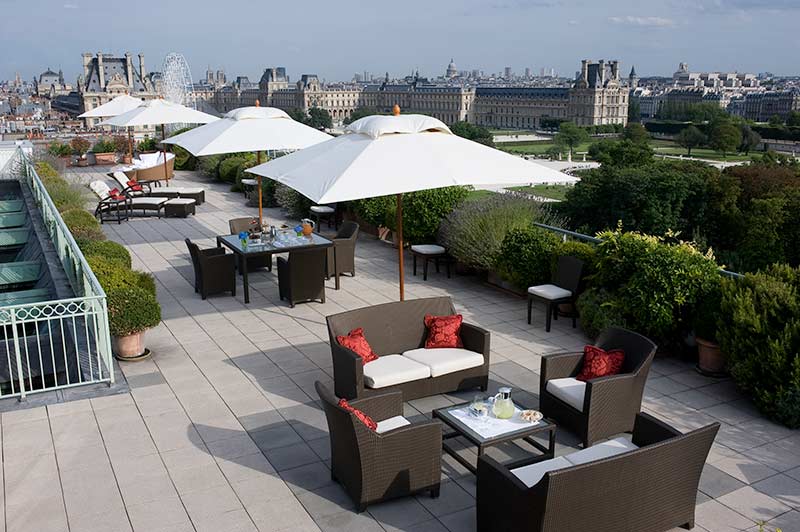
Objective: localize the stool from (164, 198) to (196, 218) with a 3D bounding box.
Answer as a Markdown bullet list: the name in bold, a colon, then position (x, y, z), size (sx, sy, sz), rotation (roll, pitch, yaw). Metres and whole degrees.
- **stool**: position (-6.865, -1.851, 19.662), size (0.692, 0.522, 0.694), rotation (-12, 18, -36)

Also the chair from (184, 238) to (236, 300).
- **chair**: position (-3.923, -0.062, 13.022), size (0.985, 1.161, 0.932), rotation (-15, 28, -43)

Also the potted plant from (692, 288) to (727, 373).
- **potted plant**: position (4.785, 0.908, 9.731), size (0.360, 1.398, 0.605), rotation (0, 16, -7)

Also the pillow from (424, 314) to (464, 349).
- **pillow**: position (0.630, 0.945, 9.352), size (0.496, 0.500, 0.157), rotation (0, 1, 2)

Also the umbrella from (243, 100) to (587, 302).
- **umbrella**: position (0.022, -1.581, 9.166), size (2.756, 2.272, 2.978), rotation (-11, 21, -25)

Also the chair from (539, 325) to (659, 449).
- **chair**: position (2.556, 1.519, 8.257), size (1.131, 1.286, 1.045), rotation (0, 14, -18)

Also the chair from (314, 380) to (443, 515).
- **chair**: position (-0.300, 1.956, 7.300), size (1.284, 1.348, 1.053), rotation (-1, 11, -29)

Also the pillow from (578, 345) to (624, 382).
- **pillow**: position (2.624, 1.322, 8.290), size (0.537, 0.175, 0.595), rotation (5, 50, 30)

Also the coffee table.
- **coffee table**: position (0.965, 1.889, 7.491), size (0.994, 0.452, 1.007), rotation (-5, 12, -29)

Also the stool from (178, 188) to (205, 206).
- **stool**: position (-7.054, -2.463, 21.413), size (0.677, 0.513, 0.692), rotation (-2, 7, -20)

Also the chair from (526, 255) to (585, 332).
- **chair**: position (2.803, 0.448, 11.456), size (0.838, 1.230, 0.765), rotation (-7, 12, -32)

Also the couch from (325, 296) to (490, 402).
- **couch**: position (0.125, 1.251, 8.990), size (2.098, 1.369, 1.190), rotation (-7, 9, -29)

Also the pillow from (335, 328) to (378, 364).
- **pillow**: position (-0.626, 1.089, 8.749), size (0.567, 0.386, 0.407), rotation (-7, 18, -28)

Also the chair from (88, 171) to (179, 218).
- **chair**: position (-9.069, -2.219, 20.196), size (2.806, 1.530, 1.740), rotation (9, 12, 31)

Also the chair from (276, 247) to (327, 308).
- **chair**: position (-1.997, 0.131, 12.684), size (1.045, 1.148, 1.094), rotation (5, 14, 14)

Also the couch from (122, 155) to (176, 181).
- **couch**: position (-9.505, -3.668, 24.431), size (1.404, 0.777, 1.771), rotation (-2, -4, 28)

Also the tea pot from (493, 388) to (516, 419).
- **tea pot**: position (1.266, 1.582, 7.375), size (0.343, 0.356, 0.250), rotation (0, 4, 13)
